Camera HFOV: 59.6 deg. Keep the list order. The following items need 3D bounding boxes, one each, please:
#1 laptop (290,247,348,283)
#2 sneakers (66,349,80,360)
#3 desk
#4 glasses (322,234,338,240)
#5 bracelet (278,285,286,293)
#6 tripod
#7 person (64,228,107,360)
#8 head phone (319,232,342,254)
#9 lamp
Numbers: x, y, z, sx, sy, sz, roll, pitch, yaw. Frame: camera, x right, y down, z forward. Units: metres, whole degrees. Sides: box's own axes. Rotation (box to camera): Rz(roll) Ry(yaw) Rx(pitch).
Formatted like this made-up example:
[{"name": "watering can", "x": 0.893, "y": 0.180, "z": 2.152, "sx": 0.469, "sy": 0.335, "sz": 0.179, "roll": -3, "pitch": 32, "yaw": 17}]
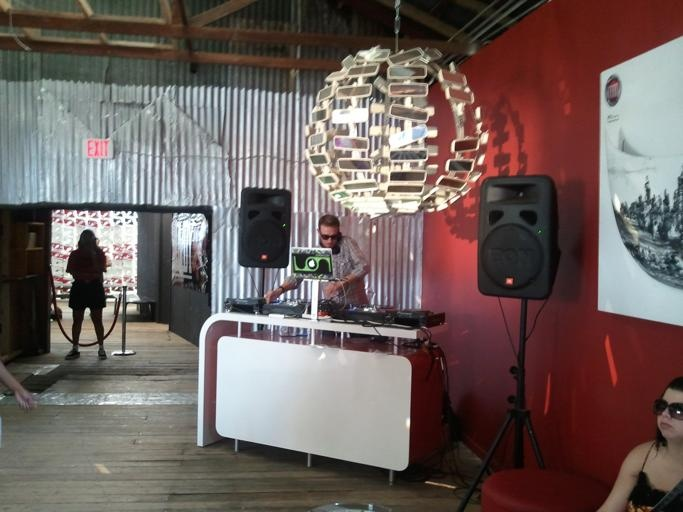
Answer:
[{"name": "laptop", "x": -0.215, "y": 0.056, "z": 4.359, "sx": 0.294, "sy": 0.238, "sz": 0.226, "roll": 3, "pitch": 7, "yaw": 22}, {"name": "sneakers", "x": -3.254, "y": 1.178, "z": 7.197, "sx": 0.148, "sy": 0.113, "sz": 0.198, "roll": 0, "pitch": 4, "yaw": -22}, {"name": "desk", "x": -0.216, "y": 0.993, "z": 4.599, "sx": 1.716, "sy": 1.127, "sz": 0.665, "roll": 4, "pitch": 1, "yaw": 17}, {"name": "glasses", "x": -0.073, "y": -0.161, "z": 5.056, "sx": 0.182, "sy": 0.049, "sz": 0.109, "roll": 0, "pitch": 4, "yaw": -30}, {"name": "bracelet", "x": -0.478, "y": 0.270, "z": 4.832, "sx": 0.035, "sy": 0.061, "sz": 0.053, "roll": 0, "pitch": 3, "yaw": -8}, {"name": "tripod", "x": 1.086, "y": 0.945, "z": 3.917, "sx": 0.503, "sy": 1.381, "sz": 0.881, "roll": 3, "pitch": 4, "yaw": 20}, {"name": "person", "x": -3.115, "y": 0.471, "z": 7.286, "sx": 0.461, "sy": 1.559, "sz": 0.520, "roll": 0, "pitch": 4, "yaw": -25}, {"name": "head phone", "x": -0.075, "y": -0.103, "z": 5.121, "sx": 0.160, "sy": 0.185, "sz": 0.057, "roll": 4, "pitch": 14, "yaw": -7}, {"name": "lamp", "x": 0.484, "y": -1.190, "z": 4.483, "sx": 1.206, "sy": 1.816, "sz": 1.843, "roll": 2, "pitch": 4, "yaw": 13}]
